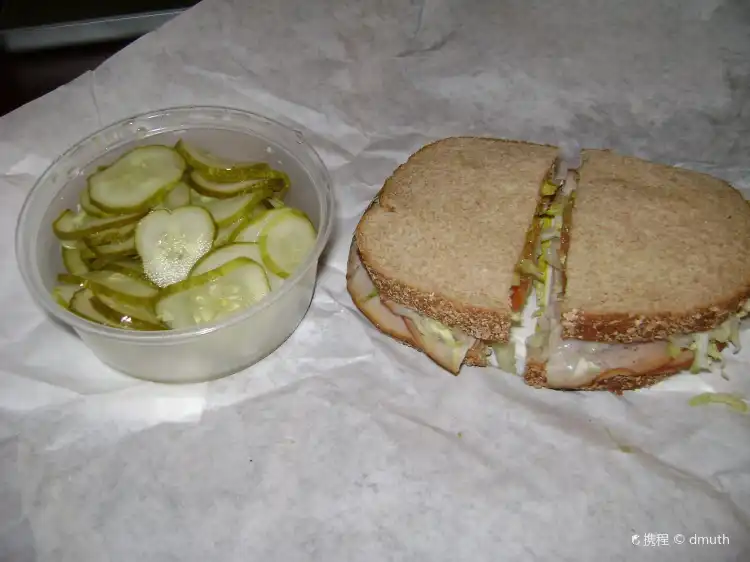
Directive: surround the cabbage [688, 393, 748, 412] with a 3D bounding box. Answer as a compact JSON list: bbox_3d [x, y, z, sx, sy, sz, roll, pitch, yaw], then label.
[{"bbox_3d":[1.591,0.547,2.929,0.179,0.043,0.100,6,32,10],"label":"cabbage"}]
